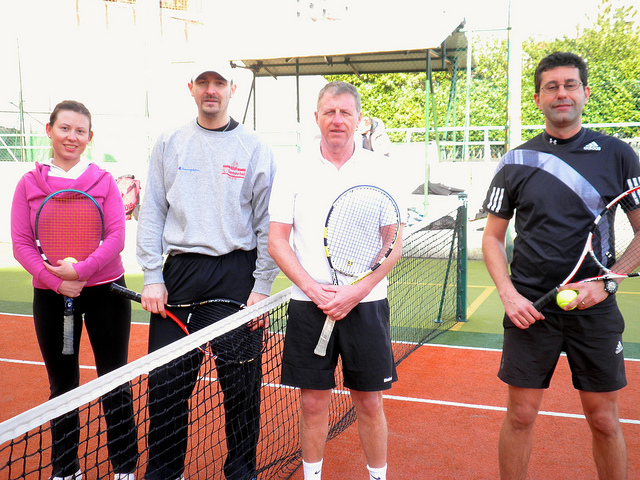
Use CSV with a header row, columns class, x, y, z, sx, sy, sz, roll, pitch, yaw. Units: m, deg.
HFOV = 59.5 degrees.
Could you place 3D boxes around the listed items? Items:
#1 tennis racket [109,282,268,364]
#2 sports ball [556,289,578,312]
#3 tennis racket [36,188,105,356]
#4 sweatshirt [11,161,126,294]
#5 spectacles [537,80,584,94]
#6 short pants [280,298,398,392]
class,x,y,z,sx,sy,sz,roll,pitch,yaw
tennis racket,-0.755,0.564,3.519,0.849,0.453,0.294,-1,10,-8
sports ball,1.429,0.350,3.264,0.112,0.117,0.115,8,-11,2
tennis racket,-1.740,0.252,3.880,0.434,1.263,0.088,-5,24,-35
sweatshirt,-1.692,-0.098,3.780,0.687,0.957,0.245,2,4,-11
spectacles,1.456,-0.918,3.380,0.217,0.078,0.065,5,11,26
short pants,0.098,0.566,3.558,0.772,0.695,0.469,4,17,13
